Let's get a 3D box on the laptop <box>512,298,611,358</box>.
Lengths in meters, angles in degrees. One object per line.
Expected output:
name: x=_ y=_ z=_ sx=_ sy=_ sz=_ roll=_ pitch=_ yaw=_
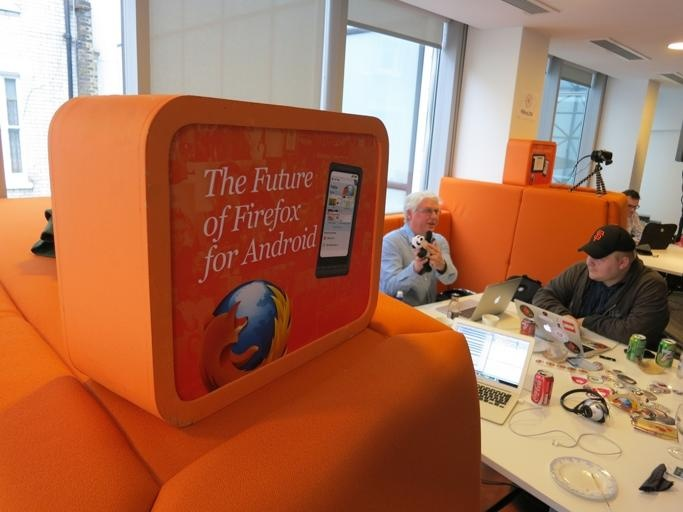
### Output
laptop: x=1.132 y=0.351 z=2.386 sx=0.334 sy=0.246 sz=0.394 roll=-12 pitch=17 yaw=-29

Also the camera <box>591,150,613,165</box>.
camera: x=2.001 y=-0.749 z=3.586 sx=0.120 sy=0.098 sz=0.273 roll=8 pitch=15 yaw=23

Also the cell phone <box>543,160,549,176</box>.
cell phone: x=1.736 y=-0.741 z=3.957 sx=0.024 sy=0.108 sz=0.094 roll=2 pitch=5 yaw=36

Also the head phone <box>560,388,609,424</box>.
head phone: x=0.965 y=0.580 z=1.822 sx=0.185 sy=0.122 sz=0.208 roll=4 pitch=-11 yaw=-1

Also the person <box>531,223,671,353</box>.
person: x=1.645 y=0.215 z=2.866 sx=0.538 sy=0.770 sz=0.896 roll=-1 pitch=11 yaw=-9

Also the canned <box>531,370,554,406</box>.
canned: x=0.790 y=0.524 z=1.838 sx=0.068 sy=0.126 sz=0.071 roll=8 pitch=14 yaw=23

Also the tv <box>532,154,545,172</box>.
tv: x=1.621 y=-0.764 z=3.857 sx=0.139 sy=0.143 sz=0.075 roll=-8 pitch=13 yaw=-41

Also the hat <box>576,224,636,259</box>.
hat: x=1.556 y=-0.095 z=2.732 sx=0.299 sy=0.175 sz=0.220 roll=-2 pitch=19 yaw=0

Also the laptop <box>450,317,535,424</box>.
laptop: x=0.564 y=0.452 z=1.930 sx=0.397 sy=0.237 sz=0.389 roll=8 pitch=12 yaw=25

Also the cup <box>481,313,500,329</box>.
cup: x=0.797 y=0.348 z=2.513 sx=0.086 sy=0.070 sz=0.073 roll=2 pitch=18 yaw=6

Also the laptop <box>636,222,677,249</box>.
laptop: x=3.203 y=-0.214 z=4.791 sx=0.355 sy=0.263 sz=0.281 roll=2 pitch=10 yaw=-4

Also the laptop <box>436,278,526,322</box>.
laptop: x=0.793 y=0.226 z=2.706 sx=0.393 sy=0.238 sz=0.337 roll=-5 pitch=17 yaw=-40

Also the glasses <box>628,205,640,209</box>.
glasses: x=3.537 y=-0.584 z=5.649 sx=0.118 sy=0.039 sz=0.122 roll=-1 pitch=7 yaw=-27
